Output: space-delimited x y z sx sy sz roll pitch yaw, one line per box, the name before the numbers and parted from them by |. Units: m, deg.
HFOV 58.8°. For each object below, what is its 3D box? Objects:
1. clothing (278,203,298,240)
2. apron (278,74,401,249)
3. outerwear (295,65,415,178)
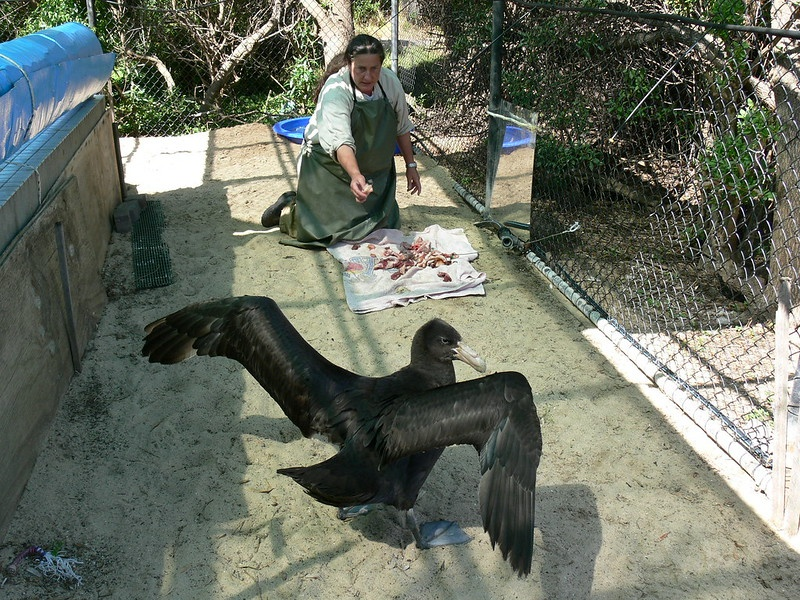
clothing | -0.953 -0.670 6.060 0.112 0.364 0.146 4 12 -20
apron | -0.436 -1.180 5.999 0.786 1.472 1.140 25 35 38
outerwear | -0.317 -1.541 5.840 0.702 0.906 0.841 -16 51 -24
